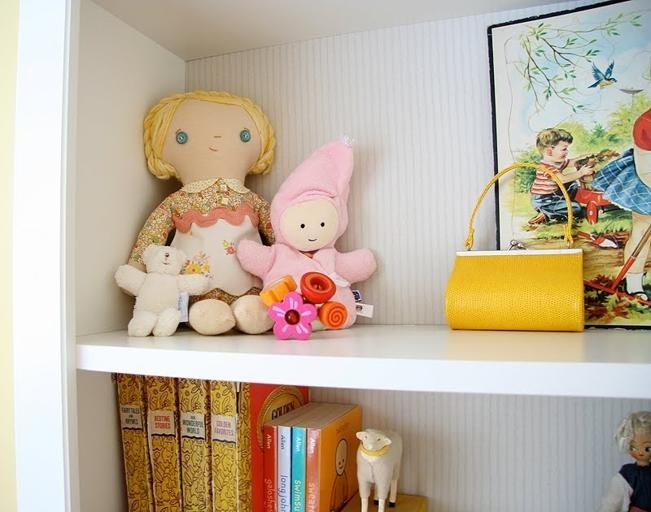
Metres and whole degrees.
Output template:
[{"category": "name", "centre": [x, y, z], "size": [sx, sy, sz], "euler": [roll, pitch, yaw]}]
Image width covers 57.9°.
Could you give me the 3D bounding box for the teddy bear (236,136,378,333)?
[{"category": "teddy bear", "centre": [-0.035, -0.038, 1.366], "size": [0.400, 0.579, 0.223], "euler": [2, -8, -11]}]

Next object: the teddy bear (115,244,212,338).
[{"category": "teddy bear", "centre": [-0.355, 0.077, 1.303], "size": [0.175, 0.197, 0.052], "euler": [5, -34, -14]}]
